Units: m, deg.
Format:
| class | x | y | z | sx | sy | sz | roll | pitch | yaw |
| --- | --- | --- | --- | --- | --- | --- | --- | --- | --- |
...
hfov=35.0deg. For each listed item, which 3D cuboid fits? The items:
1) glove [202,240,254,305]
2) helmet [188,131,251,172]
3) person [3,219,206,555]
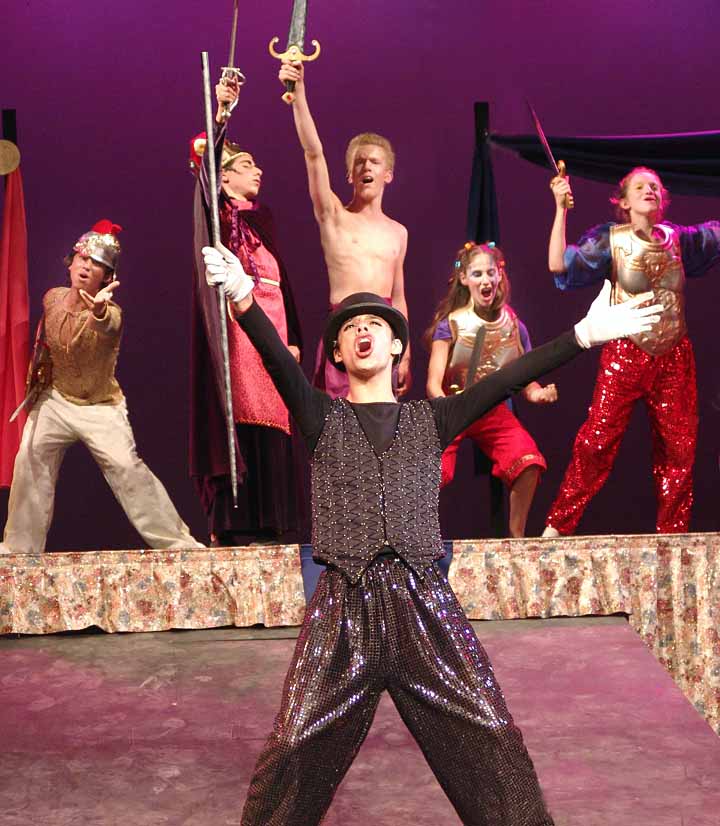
| class | x | y | z | sx | sy | sz | roll | pitch | yaw |
| --- | --- | --- | --- | --- | --- | --- | --- | --- | --- |
| glove | -0.292 | -0.293 | 2.416 | 0.085 | 0.146 | 0.041 | -39 | 0 | 35 |
| helmet | -0.494 | -0.965 | 4.177 | 0.237 | 0.111 | 0.170 | 3 | -8 | -1 |
| person | -0.987 | -0.088 | 4.147 | 0.648 | 1.118 | 0.485 | -3 | 10 | -10 |
